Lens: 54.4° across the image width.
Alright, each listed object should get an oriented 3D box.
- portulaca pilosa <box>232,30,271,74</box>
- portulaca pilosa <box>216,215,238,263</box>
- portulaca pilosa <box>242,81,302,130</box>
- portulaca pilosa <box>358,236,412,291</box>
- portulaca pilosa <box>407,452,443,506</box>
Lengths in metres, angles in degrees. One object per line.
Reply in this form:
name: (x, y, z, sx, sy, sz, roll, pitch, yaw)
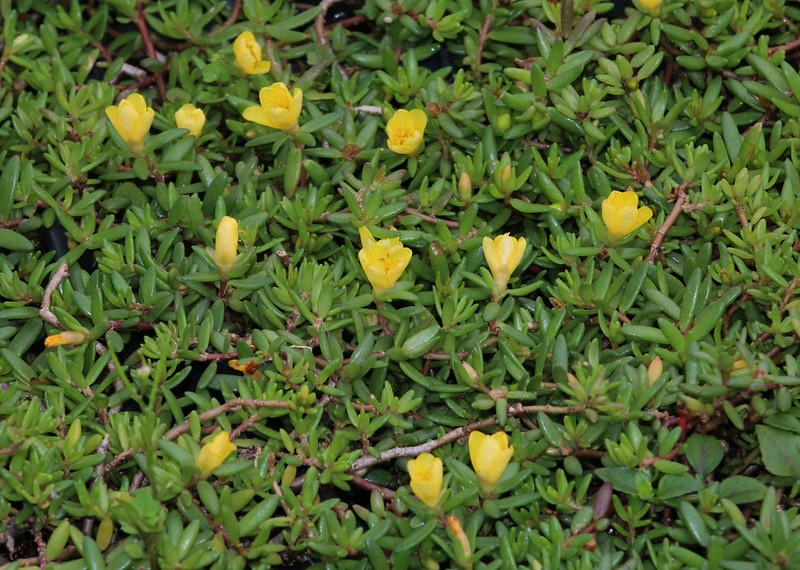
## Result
portulaca pilosa: (-0.534, -0.878, 2.967, 0.084, 0.167, 0.137, 53, 44, -6)
portulaca pilosa: (-0.572, -0.145, 2.582, 0.066, 0.166, 0.070, 3, 35, -13)
portulaca pilosa: (-0.463, -0.616, 2.798, 0.118, 0.194, 0.163, 25, 38, -14)
portulaca pilosa: (-0.043, -0.057, 2.592, 0.224, 0.208, 0.133, -9, 78, 35)
portulaca pilosa: (0.087, 0.587, 2.287, 0.095, 0.110, 0.163, -10, 95, 19)
